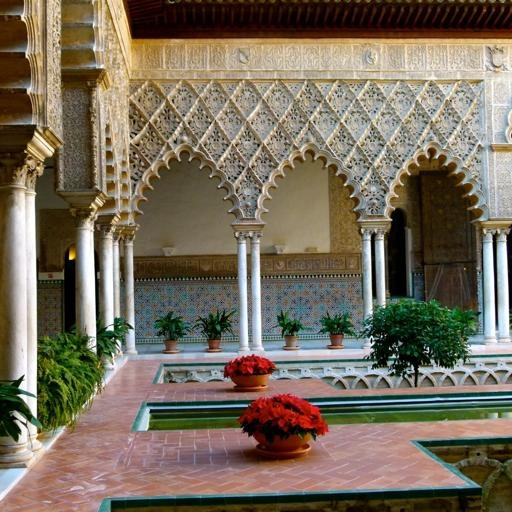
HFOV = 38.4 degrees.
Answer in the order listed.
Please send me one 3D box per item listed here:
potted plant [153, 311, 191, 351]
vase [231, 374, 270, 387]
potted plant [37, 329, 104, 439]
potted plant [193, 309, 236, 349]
[{"bbox_3d":[-1.405,1.241,12.021,0.689,0.703,0.728,2,-10,-8],"label":"potted plant"},{"bbox_3d":[-0.064,1.239,7.352,0.372,0.153,0.297,-1,-1,-6],"label":"vase"},{"bbox_3d":[-1.437,0.946,5.570,0.700,0.600,0.653,-1,5,-21],"label":"potted plant"},{"bbox_3d":[-0.652,1.198,12.000,0.824,0.711,0.760,1,-9,2],"label":"potted plant"}]
